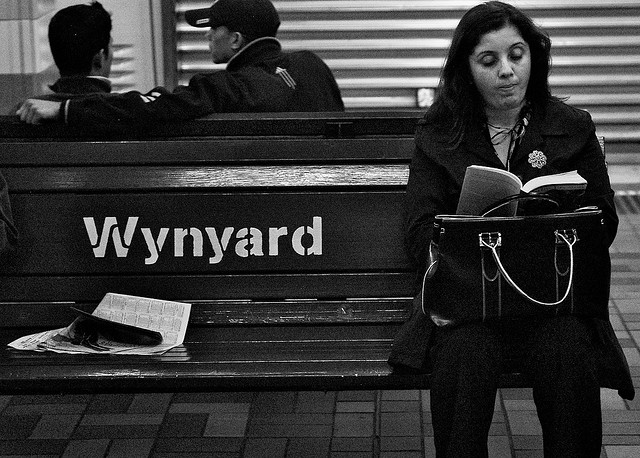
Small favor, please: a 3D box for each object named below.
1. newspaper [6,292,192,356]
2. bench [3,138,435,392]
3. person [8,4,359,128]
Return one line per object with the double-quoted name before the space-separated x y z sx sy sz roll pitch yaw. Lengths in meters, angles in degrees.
"newspaper" -0.963 0.405 3.917 0.732 0.198 0.365 0 19 6
"bench" -0.517 0.120 3.866 1.873 0.893 0.887 -2 19 2
"person" -0.867 -0.976 5.241 1.504 0.625 0.621 -3 20 -3
